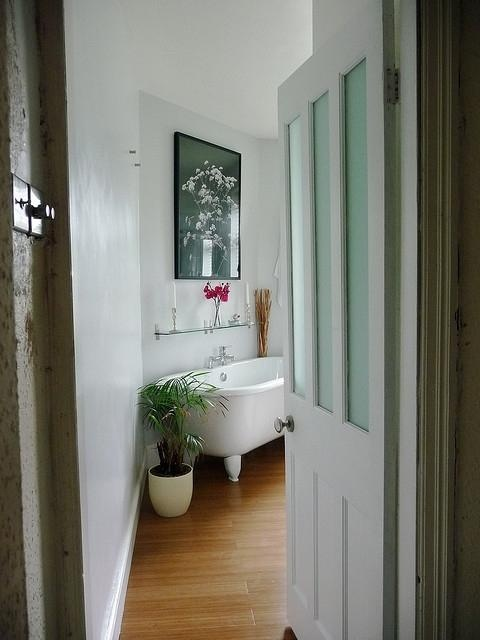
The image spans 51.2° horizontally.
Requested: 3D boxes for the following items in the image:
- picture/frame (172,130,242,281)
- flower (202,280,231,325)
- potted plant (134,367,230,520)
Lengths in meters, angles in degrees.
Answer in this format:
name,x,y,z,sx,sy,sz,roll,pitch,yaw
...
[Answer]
name,x,y,z,sx,sy,sz,roll,pitch,yaw
picture/frame,-0.275,-0.897,3.896,0.036,1.708,0.925,0,-1,24
flower,-0.156,-0.130,4.071,0.158,0.364,0.435,1,3,27
potted plant,-0.345,0.683,3.080,0.548,0.743,0.821,-1,2,-14
